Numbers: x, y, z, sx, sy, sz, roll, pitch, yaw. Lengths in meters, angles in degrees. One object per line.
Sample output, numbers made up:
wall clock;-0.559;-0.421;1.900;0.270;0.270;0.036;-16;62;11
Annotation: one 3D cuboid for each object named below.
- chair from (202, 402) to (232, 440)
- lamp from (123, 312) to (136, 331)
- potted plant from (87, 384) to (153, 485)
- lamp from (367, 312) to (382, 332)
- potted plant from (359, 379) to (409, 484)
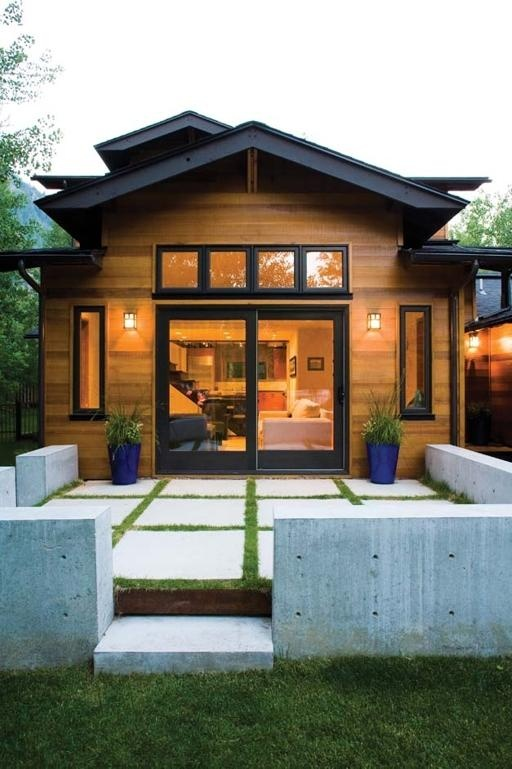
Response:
chair;-0.437;0.404;7.963;0.275;0.419;0.146;-3;14;-2
lamp;-1.359;-0.677;7.805;0.155;0.283;0.154;1;-1;-6
potted plant;-1.310;0.600;7.594;0.491;0.842;0.482;-1;-5;-18
lamp;1.266;-0.669;7.791;0.158;0.230;0.159;0;-3;0
potted plant;1.337;0.528;7.600;0.445;0.974;0.469;2;-6;-41
